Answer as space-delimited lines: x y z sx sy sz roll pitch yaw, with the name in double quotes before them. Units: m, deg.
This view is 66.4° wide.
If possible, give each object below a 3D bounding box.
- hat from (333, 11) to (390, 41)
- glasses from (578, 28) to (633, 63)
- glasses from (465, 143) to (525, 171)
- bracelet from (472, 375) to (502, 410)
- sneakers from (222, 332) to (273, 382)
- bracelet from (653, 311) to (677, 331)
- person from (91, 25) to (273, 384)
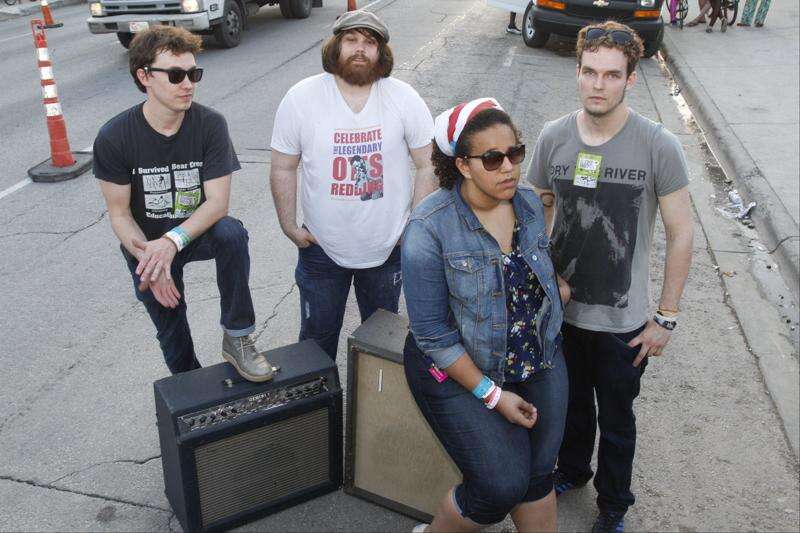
"hat" -0.248 -1.546 3.975 0.337 0.183 0.212 -7 26 -10
"glasses" 1.142 -1.236 3.387 0.292 0.144 0.164 7 27 18
"glasses" 0.502 -0.537 3.048 0.174 0.065 0.178 -15 13 -25
"bracelet" 0.459 0.657 3.164 0.167 0.129 0.062 23 5 29
"sneakers" -0.912 0.562 3.721 0.157 0.206 0.467 -24 38 -38
"bracelet" 1.507 0.312 3.525 0.093 0.073 0.124 16 13 -13
"person" -1.376 -0.326 4.010 1.238 2.250 0.853 13 29 30
